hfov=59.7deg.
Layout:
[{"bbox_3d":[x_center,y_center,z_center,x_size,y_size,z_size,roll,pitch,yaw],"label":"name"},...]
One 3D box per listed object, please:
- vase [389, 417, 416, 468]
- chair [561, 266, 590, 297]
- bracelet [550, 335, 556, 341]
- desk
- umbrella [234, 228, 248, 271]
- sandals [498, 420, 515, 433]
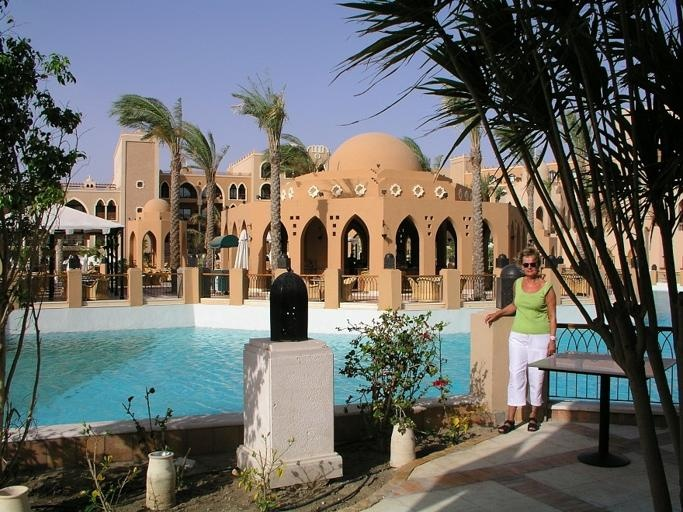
[{"bbox_3d":[0.543,1.666,5.304,0.211,0.398,0.210,-11,15,-36],"label":"vase"},{"bbox_3d":[8.497,0.985,21.424,0.871,0.893,1.764,2,2,23],"label":"chair"},{"bbox_3d":[2.001,0.784,5.642,0.038,0.027,0.050,-1,-3,-2],"label":"bracelet"},{"bbox_3d":[2.199,1.181,5.255,1.006,0.828,0.934,1,4,30],"label":"desk"},{"bbox_3d":[-3.646,-0.288,21.903,0.460,1.351,2.686,1,2,-10],"label":"umbrella"},{"bbox_3d":[1.607,1.687,5.833,0.072,0.094,0.223,-9,-15,37],"label":"sandals"}]
